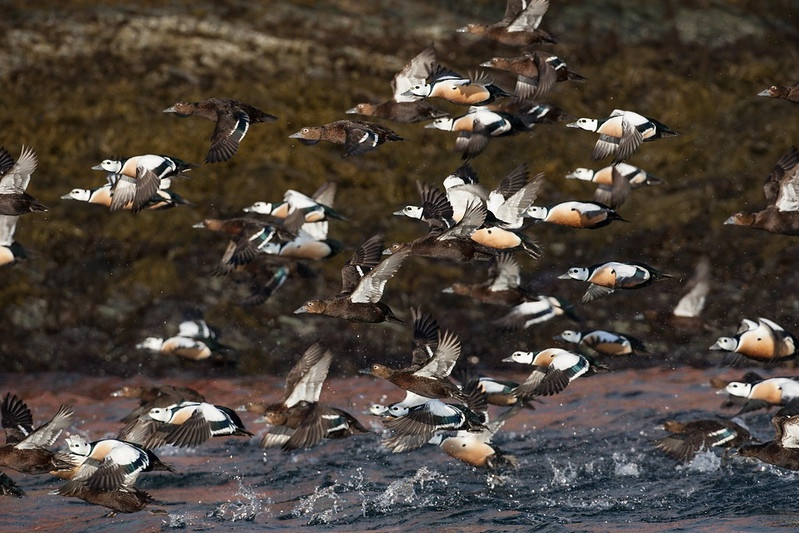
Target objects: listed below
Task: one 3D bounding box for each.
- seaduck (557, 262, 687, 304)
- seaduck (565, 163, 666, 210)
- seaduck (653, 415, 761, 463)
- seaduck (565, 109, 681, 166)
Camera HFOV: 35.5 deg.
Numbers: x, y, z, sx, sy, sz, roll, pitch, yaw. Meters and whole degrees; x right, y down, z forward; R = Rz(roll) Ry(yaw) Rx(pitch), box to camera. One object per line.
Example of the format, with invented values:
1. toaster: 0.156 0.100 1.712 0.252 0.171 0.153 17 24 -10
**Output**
1. seaduck: 3.164 0.284 18.461 1.332 0.836 0.396 8 30 6
2. seaduck: 3.385 -1.423 19.993 1.061 0.787 1.558 19 31 25
3. seaduck: 4.420 2.476 18.168 1.075 0.345 0.698 -14 16 5
4. seaduck: 3.217 -1.992 18.460 1.046 0.694 1.060 26 35 34
